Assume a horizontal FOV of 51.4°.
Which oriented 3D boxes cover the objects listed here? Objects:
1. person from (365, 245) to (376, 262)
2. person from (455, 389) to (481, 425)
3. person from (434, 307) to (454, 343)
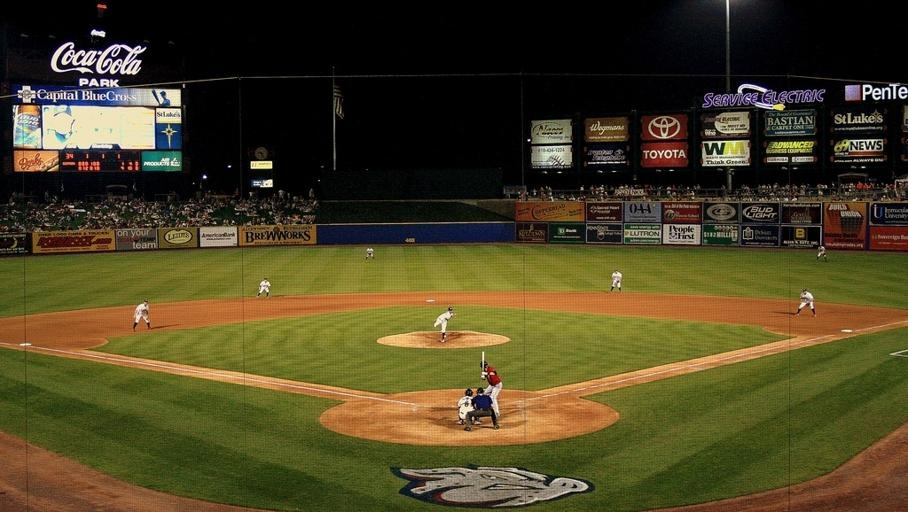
[{"bbox_3d":[-6.733,-0.138,75.586,0.831,0.938,1.482,-23,0,-4],"label":"person"},{"bbox_3d":[0.538,6.547,41.114,1.051,1.296,0.552,5,-3,8],"label":"person"},{"bbox_3d":[-0.526,3.651,48.908,1.531,1.669,0.530,-20,43,-23],"label":"person"}]
